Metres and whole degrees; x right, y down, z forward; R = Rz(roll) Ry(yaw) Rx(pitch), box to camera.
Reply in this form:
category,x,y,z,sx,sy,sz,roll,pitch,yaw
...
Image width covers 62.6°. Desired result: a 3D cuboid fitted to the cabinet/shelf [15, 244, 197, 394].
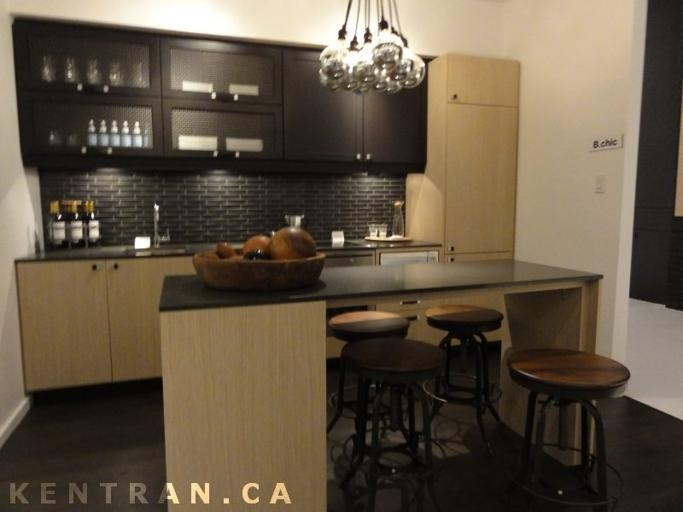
category,x,y,z,sx,sy,sz,roll,pitch,yaw
cabinet/shelf,-1.896,0.496,4.689,1.209,0.991,0.649,-3,5,-13

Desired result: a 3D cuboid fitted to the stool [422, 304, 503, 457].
category,x,y,z,sx,sy,sz,roll,pitch,yaw
stool,0.787,0.772,3.692,0.477,0.756,0.506,-3,6,-43

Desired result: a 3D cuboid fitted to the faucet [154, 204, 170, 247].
category,x,y,z,sx,sy,sz,roll,pitch,yaw
faucet,-1.646,-0.278,5.023,0.140,0.378,0.214,-4,12,-5

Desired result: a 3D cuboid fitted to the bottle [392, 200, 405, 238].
category,x,y,z,sx,sy,sz,roll,pitch,yaw
bottle,0.581,-0.373,5.710,0.139,0.350,0.297,-2,12,2

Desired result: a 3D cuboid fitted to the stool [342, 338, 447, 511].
category,x,y,z,sx,sy,sz,roll,pitch,yaw
stool,0.335,0.939,3.474,0.617,0.942,0.847,0,13,13

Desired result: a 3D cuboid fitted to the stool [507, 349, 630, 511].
category,x,y,z,sx,sy,sz,roll,pitch,yaw
stool,1.305,1.009,3.251,0.595,0.901,0.665,6,15,34

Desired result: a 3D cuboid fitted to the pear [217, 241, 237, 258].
category,x,y,z,sx,sy,sz,roll,pitch,yaw
pear,-0.650,-0.030,3.146,0.080,0.068,0.109,3,8,-17

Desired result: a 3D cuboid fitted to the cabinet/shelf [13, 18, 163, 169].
category,x,y,z,sx,sy,sz,roll,pitch,yaw
cabinet/shelf,-2.102,-1.391,4.691,1.016,1.075,0.377,-7,32,-33

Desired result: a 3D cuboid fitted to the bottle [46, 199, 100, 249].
category,x,y,z,sx,sy,sz,roll,pitch,yaw
bottle,-2.326,-0.249,4.905,0.384,0.537,0.415,0,2,0

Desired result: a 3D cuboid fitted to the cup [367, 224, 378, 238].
category,x,y,z,sx,sy,sz,roll,pitch,yaw
cup,0.304,-0.244,5.605,0.107,0.130,0.111,0,5,0

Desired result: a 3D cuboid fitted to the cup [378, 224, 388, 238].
category,x,y,z,sx,sy,sz,roll,pitch,yaw
cup,0.413,-0.244,5.574,0.105,0.135,0.113,-2,6,0

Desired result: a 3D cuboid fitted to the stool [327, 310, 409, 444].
category,x,y,z,sx,sy,sz,roll,pitch,yaw
stool,0.118,0.713,3.800,0.669,0.942,0.695,-1,9,-10
